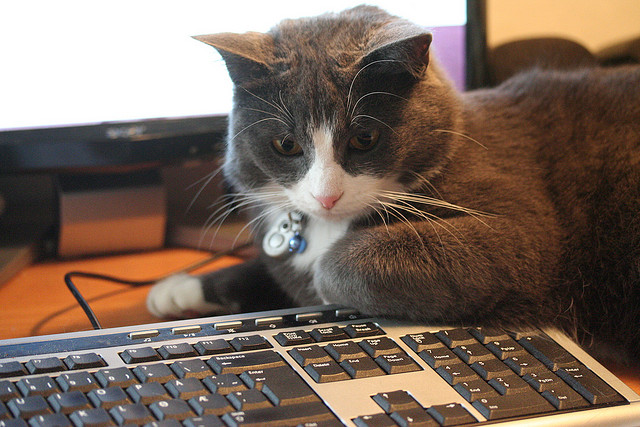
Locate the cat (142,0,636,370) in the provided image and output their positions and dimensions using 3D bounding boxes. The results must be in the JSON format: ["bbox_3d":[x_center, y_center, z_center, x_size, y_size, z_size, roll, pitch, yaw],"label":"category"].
[{"bbox_3d":[0.225,-0.050,1.257,1.029,0.460,0.644,-4,4,-27],"label":"cat"}]
